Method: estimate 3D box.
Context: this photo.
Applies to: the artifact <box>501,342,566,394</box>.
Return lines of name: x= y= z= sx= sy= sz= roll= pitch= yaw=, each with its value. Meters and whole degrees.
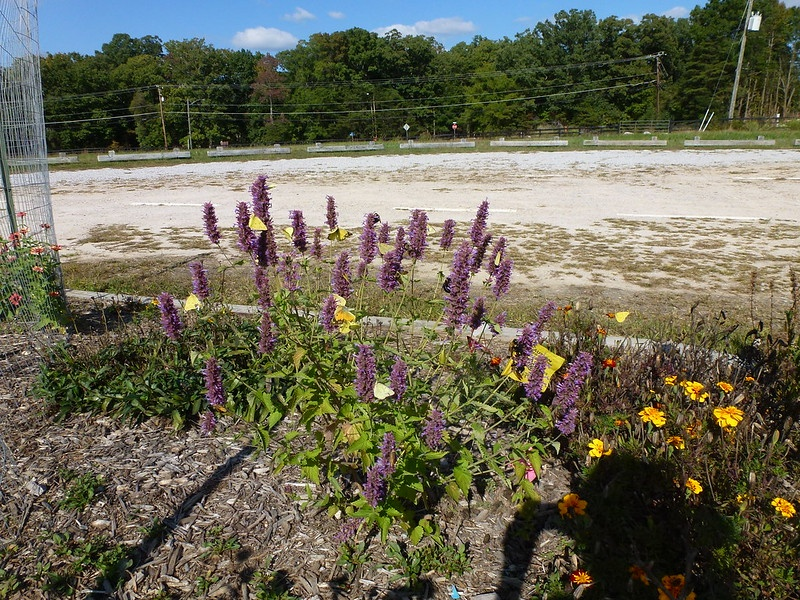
artifact: x=0.989 y=0.485 z=4.156 sx=0.375 sy=0.376 sz=0.115 roll=25 pitch=10 yaw=12
